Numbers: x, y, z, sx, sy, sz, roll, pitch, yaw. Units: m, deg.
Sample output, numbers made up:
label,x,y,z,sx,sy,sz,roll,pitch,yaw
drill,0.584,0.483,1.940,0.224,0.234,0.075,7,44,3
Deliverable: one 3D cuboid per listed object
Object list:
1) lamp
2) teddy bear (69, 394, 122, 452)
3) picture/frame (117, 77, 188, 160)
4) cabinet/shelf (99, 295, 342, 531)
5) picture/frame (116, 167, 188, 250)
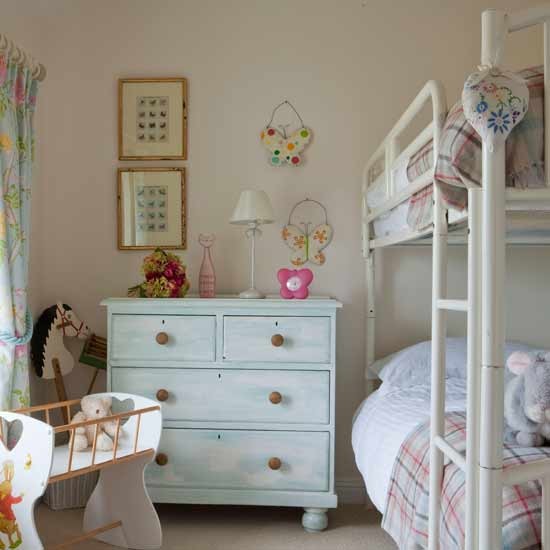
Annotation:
label,x,y,z,sx,sy,sz,roll,pitch,yaw
lamp,-0.115,-0.163,2.750,0.204,0.530,0.380,1,2,-4
teddy bear,-0.682,0.553,2.169,0.171,0.211,0.141,0,16,-32
picture/frame,-0.616,-0.790,2.916,0.342,0.464,0.034,0,0,-1
cabinet/shelf,-0.187,0.523,2.751,1.225,1.431,0.743,0,-2,5
picture/frame,-0.623,-0.337,2.923,0.349,0.472,0.030,-4,34,-18
